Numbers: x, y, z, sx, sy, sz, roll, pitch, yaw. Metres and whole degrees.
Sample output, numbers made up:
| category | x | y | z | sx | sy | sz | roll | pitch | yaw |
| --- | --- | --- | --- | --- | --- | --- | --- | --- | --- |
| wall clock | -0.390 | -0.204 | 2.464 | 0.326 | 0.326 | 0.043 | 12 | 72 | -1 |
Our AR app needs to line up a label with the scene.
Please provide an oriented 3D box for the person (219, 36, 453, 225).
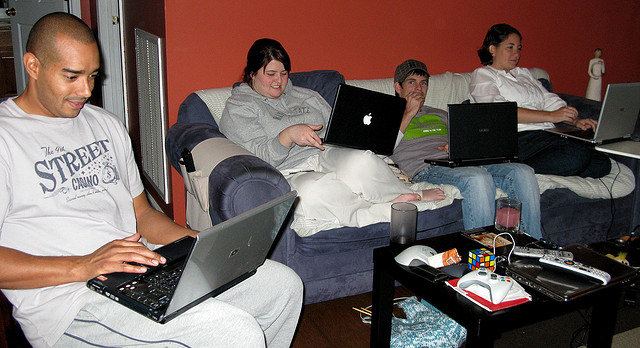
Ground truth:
| category | x | y | z | sx | sy | sz | roll | pitch | yaw |
| --- | --- | --- | --- | --- | --- | --- | --- | --- | --- |
| person | 0.216 | -0.344 | 3.231 | 2.005 | 1.109 | 1.102 | 5 | 8 | 15 |

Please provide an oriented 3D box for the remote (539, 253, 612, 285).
| category | x | y | z | sx | sy | sz | roll | pitch | yaw |
| --- | --- | --- | --- | --- | --- | --- | --- | --- | --- |
| remote | 1.384 | 0.522 | 2.327 | 0.337 | 0.061 | 0.199 | 13 | 5 | 37 |

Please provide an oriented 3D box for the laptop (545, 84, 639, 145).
| category | x | y | z | sx | sy | sz | roll | pitch | yaw |
| --- | --- | --- | --- | --- | --- | --- | --- | --- | --- |
| laptop | 2.179 | -0.508 | 3.638 | 0.760 | 0.505 | 0.514 | -7 | 17 | -31 |

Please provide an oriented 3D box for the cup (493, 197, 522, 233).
| category | x | y | z | sx | sy | sz | roll | pitch | yaw |
| --- | --- | --- | --- | --- | --- | --- | --- | --- | --- |
| cup | 1.146 | 0.275 | 2.651 | 0.168 | 0.174 | 0.165 | 3 | -9 | 0 |

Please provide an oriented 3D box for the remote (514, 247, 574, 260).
| category | x | y | z | sx | sy | sz | roll | pitch | yaw |
| --- | --- | --- | --- | --- | --- | --- | --- | --- | --- |
| remote | 1.243 | 0.442 | 2.383 | 0.207 | 0.019 | 0.112 | 4 | 1 | 10 |

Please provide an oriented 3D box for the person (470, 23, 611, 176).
| category | x | y | z | sx | sy | sz | roll | pitch | yaw |
| --- | --- | --- | --- | --- | --- | --- | --- | --- | --- |
| person | 1.892 | -0.622 | 3.634 | 0.826 | 1.196 | 1.177 | -23 | 27 | -39 |

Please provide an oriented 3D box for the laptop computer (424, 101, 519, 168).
| category | x | y | z | sx | sy | sz | roll | pitch | yaw |
| --- | --- | --- | --- | --- | --- | --- | --- | --- | --- |
| laptop computer | 1.219 | -0.298 | 3.357 | 0.553 | 0.356 | 0.392 | -4 | 13 | 0 |

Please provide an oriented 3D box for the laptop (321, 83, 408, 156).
| category | x | y | z | sx | sy | sz | roll | pitch | yaw |
| --- | --- | --- | --- | --- | --- | --- | --- | --- | --- |
| laptop | 0.393 | -0.336 | 3.209 | 0.609 | 0.354 | 0.447 | 20 | 0 | 18 |

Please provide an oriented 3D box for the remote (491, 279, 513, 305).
| category | x | y | z | sx | sy | sz | roll | pitch | yaw |
| --- | --- | --- | --- | --- | --- | --- | --- | --- | --- |
| remote | 0.926 | 0.581 | 2.185 | 0.217 | 0.049 | 0.055 | -32 | -14 | -39 |
